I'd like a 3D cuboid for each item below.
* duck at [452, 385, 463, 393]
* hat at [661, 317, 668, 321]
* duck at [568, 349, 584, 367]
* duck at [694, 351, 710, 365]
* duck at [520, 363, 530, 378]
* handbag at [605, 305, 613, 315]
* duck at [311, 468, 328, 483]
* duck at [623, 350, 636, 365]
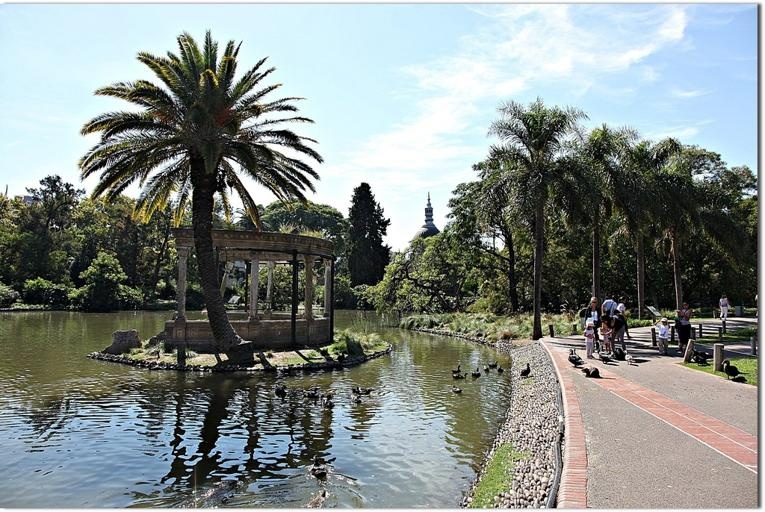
[{"bbox_3d":[2.988,5.378,21.342,0.171,0.278,0.450,0,-9,-10],"label":"duck"},{"bbox_3d":[12.693,2.924,24.141,0.253,0.085,0.259,-1,1,6],"label":"hat"},{"bbox_3d":[8.216,4.397,22.621,0.496,0.567,0.770,2,1,-11],"label":"duck"},{"bbox_3d":[13.105,4.214,22.018,0.534,0.511,0.991,2,5,32],"label":"duck"},{"bbox_3d":[6.180,5.037,23.270,0.392,0.610,0.634,7,-7,-38],"label":"duck"},{"bbox_3d":[10.339,2.488,24.471,0.381,0.364,0.655,7,8,27],"label":"handbag"},{"bbox_3d":[-1.644,5.752,14.020,0.414,0.216,0.374,-1,4,-10],"label":"duck"},{"bbox_3d":[10.636,4.440,23.010,0.329,0.238,0.575,2,6,1],"label":"duck"}]
